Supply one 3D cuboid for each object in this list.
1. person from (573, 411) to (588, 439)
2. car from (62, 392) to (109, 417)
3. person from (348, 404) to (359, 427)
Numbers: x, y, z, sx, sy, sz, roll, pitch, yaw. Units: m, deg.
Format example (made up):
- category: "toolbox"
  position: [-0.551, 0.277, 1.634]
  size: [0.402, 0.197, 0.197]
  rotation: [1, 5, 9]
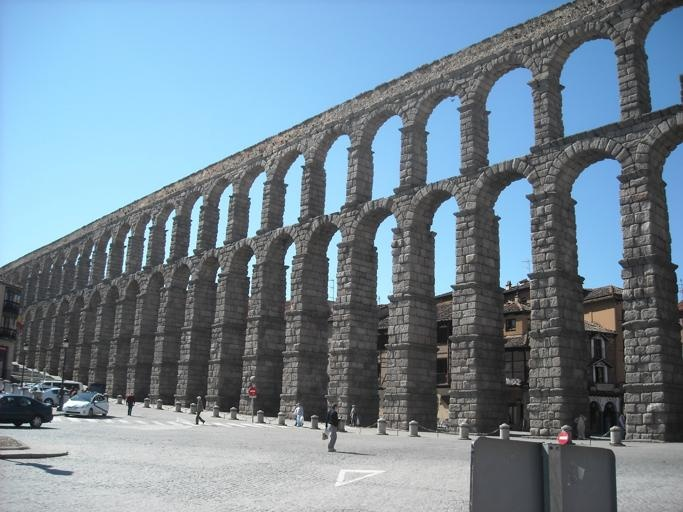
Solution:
- category: "person"
  position: [10.516, 7.475, 31.571]
  size: [0.514, 1.235, 0.933]
  rotation: [-5, -24, 21]
- category: "car"
  position: [-14.091, 8.399, 40.371]
  size: [1.404, 0.902, 2.123]
  rotation: [-3, -18, 6]
- category: "person"
  position: [0.728, 8.742, 39.316]
  size: [0.553, 1.301, 1.095]
  rotation: [4, -22, 2]
